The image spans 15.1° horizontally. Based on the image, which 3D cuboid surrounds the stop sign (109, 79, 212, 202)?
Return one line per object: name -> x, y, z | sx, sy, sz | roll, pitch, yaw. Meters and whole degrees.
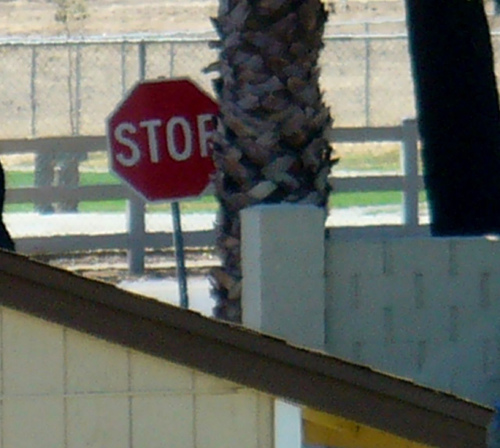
stop sign -> -1.150, -1.065, 24.950 | 1.620, 1.758, 0.271 | 0, 3, 7
